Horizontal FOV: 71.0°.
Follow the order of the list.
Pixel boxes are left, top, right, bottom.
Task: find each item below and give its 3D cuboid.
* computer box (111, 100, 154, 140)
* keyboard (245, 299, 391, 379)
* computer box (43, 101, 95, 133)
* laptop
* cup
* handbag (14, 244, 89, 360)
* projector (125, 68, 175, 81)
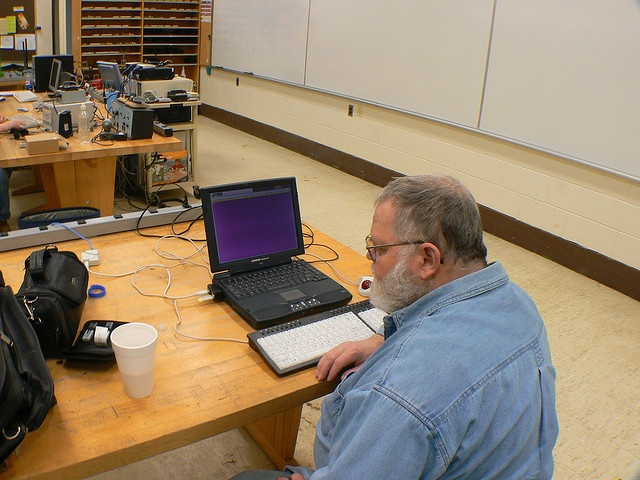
[{"bbox_3d":[-1.458,-0.922,3.477,0.150,0.204,0.421,-9,25,-41],"label":"computer box"},{"bbox_3d":[-0.017,0.227,1.369,0.464,0.062,0.151,-15,38,-31],"label":"keyboard"},{"bbox_3d":[-1.879,-0.917,3.339,0.149,0.183,0.277,28,34,36],"label":"computer box"},{"bbox_3d":[-0.176,0.056,1.718,0.544,0.465,0.549,-17,38,-36],"label":"laptop"},{"bbox_3d":[-0.493,0.308,1.205,0.104,0.196,0.172,-6,25,-23],"label":"cup"},{"bbox_3d":[-0.762,0.186,1.275,0.129,0.156,0.258,-22,31,-1],"label":"handbag"},{"bbox_3d":[-1.547,-1.541,4.156,0.261,0.098,0.196,-11,25,-29],"label":"projector"}]
